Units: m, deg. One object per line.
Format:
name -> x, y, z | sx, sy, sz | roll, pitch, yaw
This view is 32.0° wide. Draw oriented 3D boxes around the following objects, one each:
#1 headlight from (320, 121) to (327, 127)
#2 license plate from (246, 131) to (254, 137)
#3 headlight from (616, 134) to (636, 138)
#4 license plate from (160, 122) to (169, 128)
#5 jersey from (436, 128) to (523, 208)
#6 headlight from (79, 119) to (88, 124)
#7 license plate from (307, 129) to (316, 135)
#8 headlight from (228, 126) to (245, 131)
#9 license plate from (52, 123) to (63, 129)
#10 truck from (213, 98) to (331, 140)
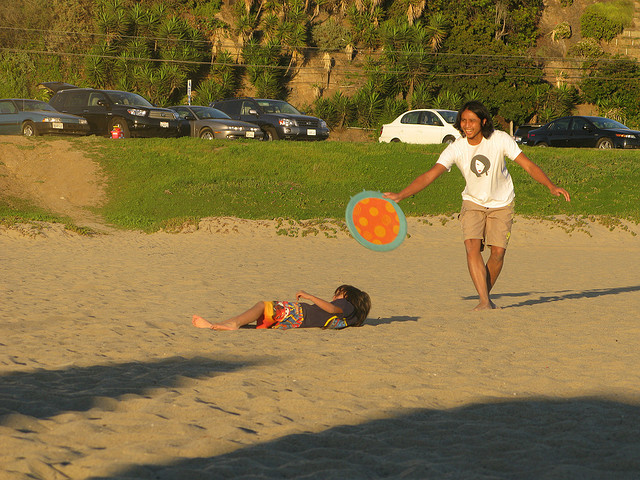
headlight -> 0.092, -4.079, 39.039 | 0.231, 0.231, 0.207 | -1, -7, 5
license plate -> -2.362, -3.529, 37.034 | 0.236, 0.133, 0.029 | -1, 12, -9
headlight -> 10.491, -3.587, 38.282 | 0.082, 0.114, 0.707 | -14, 21, -42
license plate -> -4.999, -3.696, 35.667 | 0.034, 0.178, 0.382 | 14, 20, 40
jersey -> 2.918, -1.309, 20.621 | 1.715, 1.282, 0.901 | -6, 25, -2
headlight -> -7.446, -3.704, 34.864 | 0.232, 0.091, 0.349 | 0, 2, -5
license plate -> -0.316, -3.738, 38.601 | 0.327, 0.202, 0.158 | 0, -5, 3
headlight -> -2.773, -3.679, 36.729 | 0.561, 0.166, 0.136 | -8, 18, -31
license plate -> -8.140, -3.542, 34.356 | 0.263, 0.158, 0.051 | 1, 6, -11
truck -> -1.976, -4.369, 39.969 | 4.390, 1.504, 1.669 | 0, 1, -19
